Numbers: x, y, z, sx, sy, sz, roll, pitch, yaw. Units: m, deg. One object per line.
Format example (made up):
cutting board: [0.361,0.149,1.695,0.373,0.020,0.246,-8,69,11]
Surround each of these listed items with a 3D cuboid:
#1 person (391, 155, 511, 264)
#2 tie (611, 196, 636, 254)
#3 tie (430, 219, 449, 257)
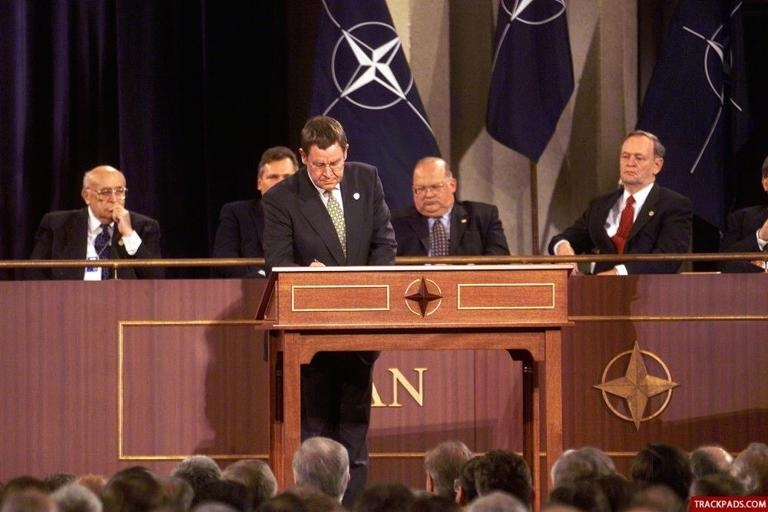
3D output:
person: [0.525,-0.255,10.678,1.208,1.083,0.713,-2,-4,0]
tie: [2.020,-0.300,10.384,0.119,0.048,0.540,3,37,21]
tie: [0.454,-0.139,10.414,0.133,0.264,0.065,-1,-7,-2]
